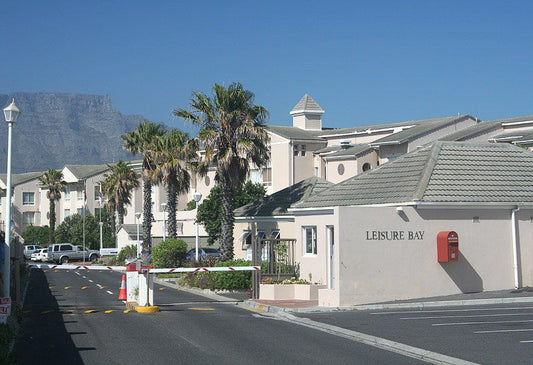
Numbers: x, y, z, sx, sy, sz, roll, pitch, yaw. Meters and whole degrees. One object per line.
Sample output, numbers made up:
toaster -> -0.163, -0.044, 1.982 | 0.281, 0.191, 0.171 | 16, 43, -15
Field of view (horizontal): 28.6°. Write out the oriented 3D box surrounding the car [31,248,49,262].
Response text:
car -> -20.314, 6.753, 94.897 | 1.872, 0.915, 1.116 | -3, 3, -45

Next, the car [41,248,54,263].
car -> -19.877, 6.685, 94.344 | 0.918, 0.870, 1.610 | 0, 3, 7

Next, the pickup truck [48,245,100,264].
pickup truck -> -17.794, 6.653, 94.765 | 3.976, 1.613, 1.883 | -3, 2, -31

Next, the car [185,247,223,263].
car -> -4.520, 5.614, 76.560 | 1.378, 1.067, 3.073 | 0, 0, -28

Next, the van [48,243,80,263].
van -> -18.343, 6.466, 94.250 | 2.525, 1.360, 1.444 | -4, 5, -32
